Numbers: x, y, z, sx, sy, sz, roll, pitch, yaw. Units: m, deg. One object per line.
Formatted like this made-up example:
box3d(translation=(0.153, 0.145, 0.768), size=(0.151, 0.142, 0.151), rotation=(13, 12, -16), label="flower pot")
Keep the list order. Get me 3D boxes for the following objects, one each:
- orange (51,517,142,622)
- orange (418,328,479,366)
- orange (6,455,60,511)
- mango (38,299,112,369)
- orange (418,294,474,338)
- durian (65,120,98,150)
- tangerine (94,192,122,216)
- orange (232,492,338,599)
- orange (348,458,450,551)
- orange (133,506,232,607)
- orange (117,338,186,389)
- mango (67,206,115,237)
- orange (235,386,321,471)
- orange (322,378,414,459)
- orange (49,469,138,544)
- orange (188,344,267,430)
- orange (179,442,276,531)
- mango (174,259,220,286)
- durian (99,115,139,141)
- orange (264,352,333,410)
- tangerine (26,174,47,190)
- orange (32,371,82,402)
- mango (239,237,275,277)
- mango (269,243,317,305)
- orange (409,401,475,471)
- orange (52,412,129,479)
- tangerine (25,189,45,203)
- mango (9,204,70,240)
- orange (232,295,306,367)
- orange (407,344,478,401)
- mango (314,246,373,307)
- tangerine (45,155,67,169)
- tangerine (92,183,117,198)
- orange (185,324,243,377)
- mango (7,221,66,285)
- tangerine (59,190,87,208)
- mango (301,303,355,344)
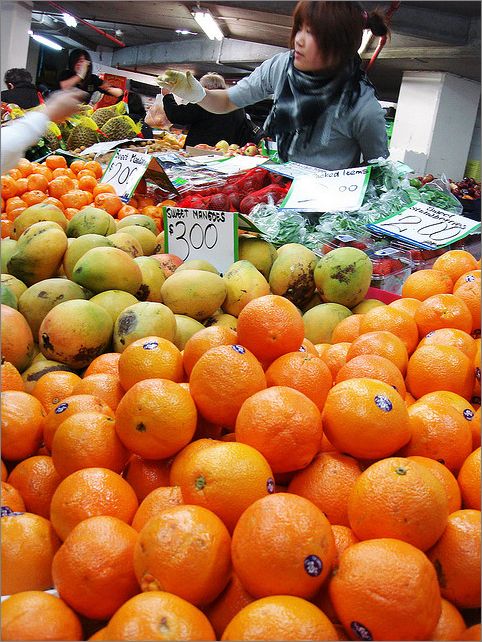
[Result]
box3d(translation=(-0.183, 0.331, 0.666), size=(0.122, 0.137, 0.116), rotation=(-3, -4, 14), label="orange")
box3d(translation=(0.495, 0.046, 1.099), size=(0.116, 0.100, 0.100), rotation=(-11, -6, 22), label="orange")
box3d(translation=(-0.368, 0.285, 0.856), size=(0.086, 0.103, 0.084), rotation=(3, -2, -45), label="orange")
box3d(translation=(-0.455, 0.032, 1.343), size=(0.163, 0.204, 0.185), rotation=(-14, 37, -26), label="mango")
box3d(translation=(0.523, -0.018, 1.223), size=(0.147, 0.126, 0.121), rotation=(-1, 3, -6), label="orange")
box3d(translation=(-1.495, -1.737, 4.305), size=(0.313, 0.146, 0.241), rotation=(-43, 35, -26), label="durian")
box3d(translation=(-0.760, -0.652, 2.642), size=(0.175, 0.156, 0.135), rotation=(4, 9, -22), label="tangerine")
box3d(translation=(0.043, 0.276, 0.601), size=(0.116, 0.118, 0.134), rotation=(12, 46, -7), label="orange")
box3d(translation=(0.205, 0.246, 0.640), size=(0.126, 0.145, 0.125), rotation=(12, -27, -16), label="orange")
box3d(translation=(-0.066, 0.312, 0.631), size=(0.118, 0.120, 0.140), rotation=(9, 33, -26), label="orange")
box3d(translation=(-0.182, 0.086, 0.962), size=(0.119, 0.116, 0.113), rotation=(-4, -6, -5), label="orange")
box3d(translation=(-0.615, -0.409, 1.908), size=(0.184, 0.152, 0.155), rotation=(-8, -1, -24), label="mango")
box3d(translation=(0.063, 0.169, 0.796), size=(0.140, 0.137, 0.128), rotation=(-3, -7, -5), label="orange")
box3d(translation=(0.209, 0.147, 0.786), size=(0.113, 0.113, 0.146), rotation=(8, 4, 39), label="orange")
box3d(translation=(-0.234, 0.259, 0.724), size=(0.114, 0.122, 0.114), rotation=(-3, -6, -24), label="orange")
box3d(translation=(-0.029, 0.105, 0.888), size=(0.153, 0.174, 0.146), rotation=(5, 9, -6), label="orange")
box3d(translation=(-0.013, 0.233, 0.712), size=(0.133, 0.112, 0.119), rotation=(4, -11, 8), label="orange")
box3d(translation=(-0.149, -0.178, 1.627), size=(0.114, 0.071, 0.079), rotation=(0, -27, -6), label="mango")
box3d(translation=(-1.162, -1.881, 4.471), size=(0.339, 0.205, 0.266), rotation=(-8, 27, -17), label="durian")
box3d(translation=(0.123, 0.107, 0.968), size=(0.112, 0.137, 0.116), rotation=(10, -23, 9), label="orange")
box3d(translation=(-1.218, -0.843, 2.776), size=(0.112, 0.096, 0.128), rotation=(11, 17, 10), label="tangerine")
box3d(translation=(-0.432, 0.156, 1.073), size=(0.074, 0.071, 0.071), rotation=(15, -17, 29), label="orange")
box3d(translation=(0.065, -0.273, 1.868), size=(0.159, 0.190, 0.153), rotation=(-5, 14, -12), label="mango")
box3d(translation=(0.211, -0.199, 1.749), size=(0.158, 0.202, 0.153), rotation=(-36, -16, 12), label="mango")
box3d(translation=(0.333, 0.220, 0.867), size=(0.119, 0.137, 0.112), rotation=(3, -20, -8), label="orange")
box3d(translation=(-0.263, 0.220, 0.856), size=(0.117, 0.137, 0.117), rotation=(-14, -22, 3), label="orange")
box3d(translation=(-1.175, -0.709, 2.652), size=(0.092, 0.088, 0.090), rotation=(-1, 5, 0), label="tangerine")
box3d(translation=(-0.792, -0.412, 1.873), size=(0.137, 0.145, 0.190), rotation=(-39, -9, 40), label="mango")
box3d(translation=(0.047, 0.006, 1.048), size=(0.140, 0.162, 0.140), rotation=(-10, -19, -3), label="orange")
box3d(translation=(0.442, 0.125, 1.015), size=(0.144, 0.131, 0.109), rotation=(16, 19, 24), label="orange")
box3d(translation=(0.359, -0.153, 1.641), size=(0.198, 0.211, 0.126), rotation=(11, 17, 8), label="mango")
box3d(translation=(-1.270, -1.103, 3.219), size=(0.110, 0.110, 0.112), rotation=(-2, -4, 18), label="tangerine")
box3d(translation=(-0.828, -0.808, 2.825), size=(0.113, 0.142, 0.126), rotation=(3, 10, 4), label="tangerine")
box3d(translation=(-0.051, 0.061, 1.050), size=(0.133, 0.116, 0.110), rotation=(-10, -11, 4), label="orange")
box3d(translation=(-0.697, -0.234, 1.586), size=(0.185, 0.199, 0.179), rotation=(-5, 21, -36), label="mango")
box3d(translation=(-0.946, -0.689, 2.617), size=(0.136, 0.076, 0.132), rotation=(4, 14, 8), label="tangerine")
box3d(translation=(0.299, 0.014, 1.598), size=(0.158, 0.177, 0.157), rotation=(-6, 18, 8), label="mango")
